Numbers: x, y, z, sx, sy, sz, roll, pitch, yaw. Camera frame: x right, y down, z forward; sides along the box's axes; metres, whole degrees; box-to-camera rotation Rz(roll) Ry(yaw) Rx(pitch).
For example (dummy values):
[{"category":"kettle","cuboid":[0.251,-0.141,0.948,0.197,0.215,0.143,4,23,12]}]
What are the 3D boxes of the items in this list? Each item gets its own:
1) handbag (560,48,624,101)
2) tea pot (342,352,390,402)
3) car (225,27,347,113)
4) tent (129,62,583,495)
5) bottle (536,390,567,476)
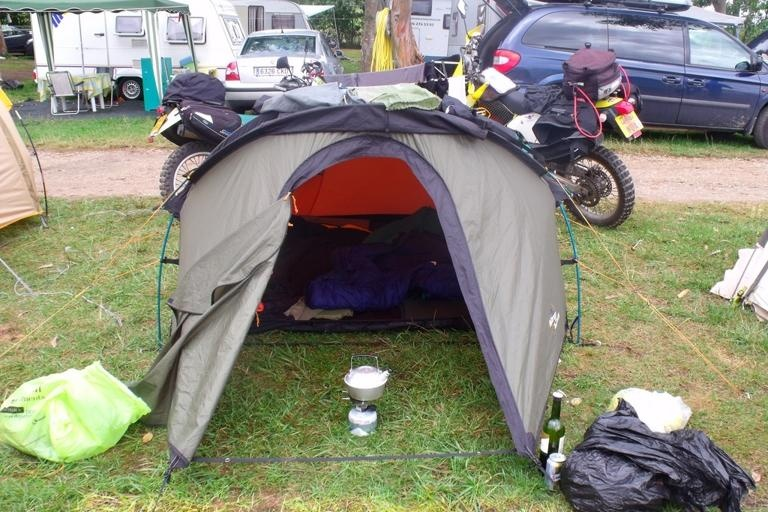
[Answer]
[{"category":"handbag","cuboid":[2.229,-1.907,6.724,0.628,0.408,0.577,-24,35,-29]},{"category":"tea pot","cuboid":[-0.146,0.903,4.651,0.364,0.294,0.285,-2,11,-14]},{"category":"car","cuboid":[-1.883,-3.254,11.503,1.547,1.019,3.205,1,28,4]},{"category":"tent","cuboid":[-0.139,0.053,4.610,3.072,2.219,1.550,0,23,-3]},{"category":"bottle","cuboid":[1.141,1.214,4.293,0.151,0.569,0.169,1,15,-6]}]
